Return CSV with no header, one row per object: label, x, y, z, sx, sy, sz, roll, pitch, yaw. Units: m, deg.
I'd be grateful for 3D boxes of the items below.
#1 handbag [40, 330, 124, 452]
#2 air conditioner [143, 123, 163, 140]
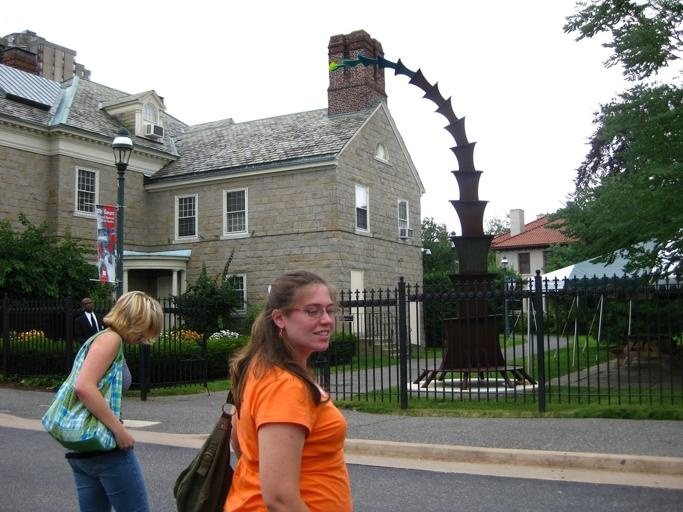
handbag,-2.200,1.151,5.991,0.632,1.029,0.320,2,-6,-21
air conditioner,-8.142,-5.467,30.627,0.470,0.573,0.822,-4,-7,34
